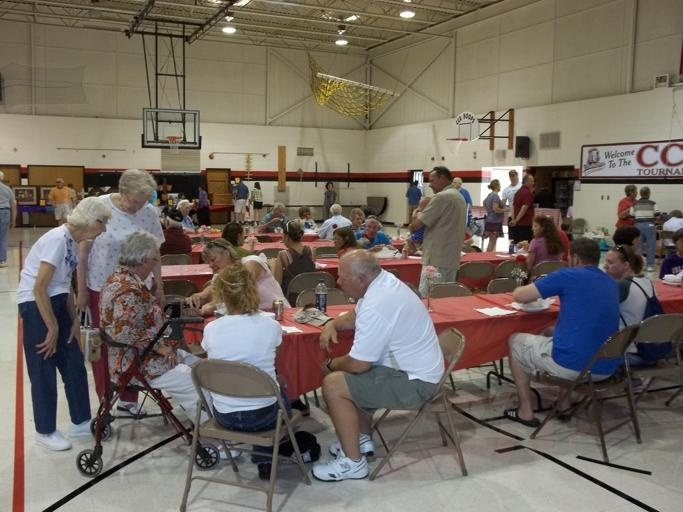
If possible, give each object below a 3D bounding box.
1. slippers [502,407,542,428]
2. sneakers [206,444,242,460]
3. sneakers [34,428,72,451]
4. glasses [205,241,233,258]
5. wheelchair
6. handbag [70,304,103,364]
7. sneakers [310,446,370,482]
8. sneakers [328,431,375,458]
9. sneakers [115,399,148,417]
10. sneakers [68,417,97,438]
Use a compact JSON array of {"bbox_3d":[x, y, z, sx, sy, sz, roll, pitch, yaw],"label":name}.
[{"bbox_3d":[1.482,1.306,4.327,0.101,0.112,0.275,-1,1,-38],"label":"slippers"},{"bbox_3d":[-0.829,1.420,3.814,0.175,0.059,0.132,7,1,8],"label":"sneakers"},{"bbox_3d":[-2.130,1.326,3.878,0.227,0.102,0.126,4,4,22],"label":"sneakers"},{"bbox_3d":[-1.011,-0.077,4.324,0.133,0.172,0.183,-22,-18,39],"label":"glasses"},{"bbox_3d":[-1.386,0.786,3.898,0.981,1.351,1.077,3,4,12],"label":"wheelchair"},{"bbox_3d":[-1.882,0.573,3.858,0.158,0.438,0.413,-4,8,-29],"label":"handbag"},{"bbox_3d":[-0.015,1.424,3.623,0.401,0.209,0.161,2,1,-8],"label":"sneakers"},{"bbox_3d":[0.073,1.364,3.800,0.362,0.194,0.143,1,0,9],"label":"sneakers"},{"bbox_3d":[-1.768,1.268,4.407,0.283,0.139,0.117,3,3,3],"label":"sneakers"},{"bbox_3d":[-1.991,1.298,4.080,0.232,0.109,0.104,-4,8,-40],"label":"sneakers"}]
